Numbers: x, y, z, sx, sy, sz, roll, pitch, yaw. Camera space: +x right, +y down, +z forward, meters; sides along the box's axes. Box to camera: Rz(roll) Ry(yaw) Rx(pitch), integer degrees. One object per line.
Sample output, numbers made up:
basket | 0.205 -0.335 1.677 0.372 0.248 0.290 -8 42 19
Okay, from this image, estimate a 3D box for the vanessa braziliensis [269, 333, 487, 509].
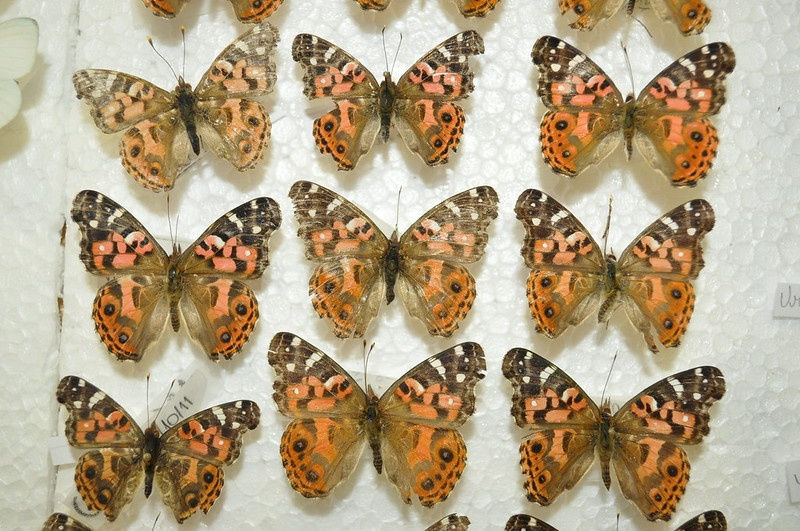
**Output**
vanessa braziliensis | -0.138 0.670 3.655 0.948 0.593 0.540 8 53 -5
